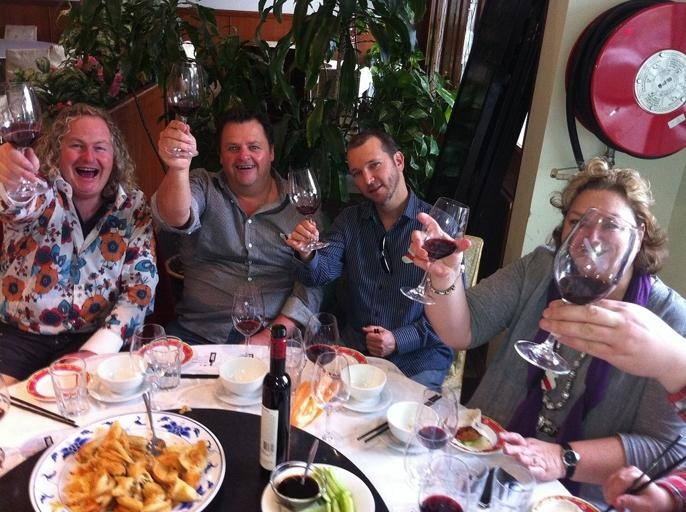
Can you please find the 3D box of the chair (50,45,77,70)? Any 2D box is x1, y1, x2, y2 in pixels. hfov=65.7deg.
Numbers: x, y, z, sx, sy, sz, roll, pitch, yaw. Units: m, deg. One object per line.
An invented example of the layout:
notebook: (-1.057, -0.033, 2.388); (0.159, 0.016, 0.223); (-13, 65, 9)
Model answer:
chair: (-2.694, -1.897, 5.052); (0.177, 0.224, 2.638); (-4, 21, -27)

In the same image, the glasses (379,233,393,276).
glasses: (0.217, -0.005, 2.703); (0.047, 0.180, 0.095); (-3, 19, -23)

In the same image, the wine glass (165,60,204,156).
wine glass: (-0.610, -0.638, 2.071); (0.133, 0.219, 0.172); (-1, 18, -17)

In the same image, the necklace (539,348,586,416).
necklace: (0.818, 0.484, 2.002); (0.049, 0.224, 0.142); (-4, 32, -32)

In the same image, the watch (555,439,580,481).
watch: (0.722, 0.657, 1.729); (0.063, 0.115, 0.103); (3, -24, 7)

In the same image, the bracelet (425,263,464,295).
bracelet: (0.385, 0.089, 2.028); (0.096, 0.145, 0.037); (22, 7, -17)
